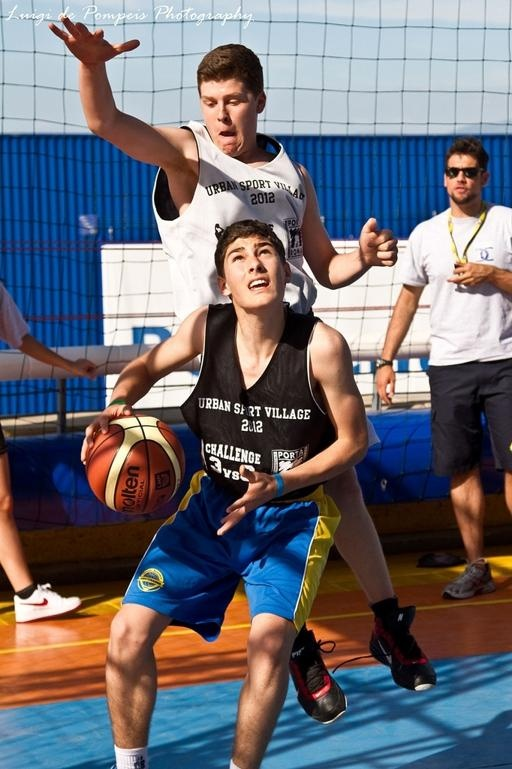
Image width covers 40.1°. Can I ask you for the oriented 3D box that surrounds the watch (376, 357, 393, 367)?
[{"bbox_3d":[0.638,-0.106,3.498,0.064,0.038,0.063,3,0,15],"label":"watch"}]

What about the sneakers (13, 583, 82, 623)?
[{"bbox_3d":[-0.948,0.993,3.225,0.358,0.182,0.131,-4,-2,-17],"label":"sneakers"}]

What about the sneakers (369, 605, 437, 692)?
[{"bbox_3d":[0.448,0.786,2.121,0.104,0.202,0.303,1,7,-20],"label":"sneakers"}]

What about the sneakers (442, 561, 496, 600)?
[{"bbox_3d":[1.048,0.967,3.500,0.339,0.151,0.117,-3,1,-33],"label":"sneakers"}]

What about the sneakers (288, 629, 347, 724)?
[{"bbox_3d":[0.152,0.807,2.023,0.113,0.119,0.333,-22,27,-3],"label":"sneakers"}]
